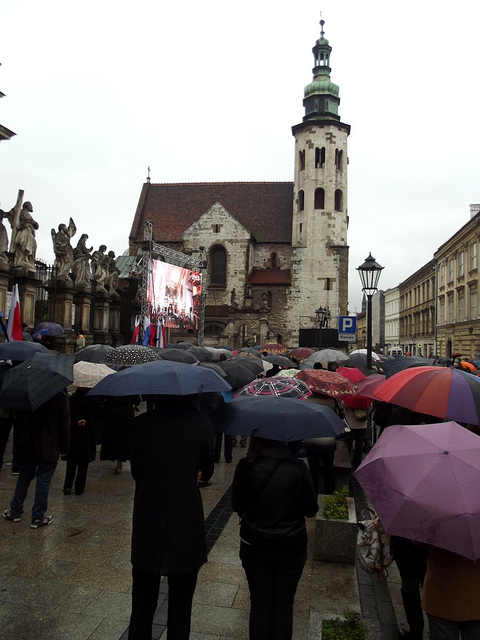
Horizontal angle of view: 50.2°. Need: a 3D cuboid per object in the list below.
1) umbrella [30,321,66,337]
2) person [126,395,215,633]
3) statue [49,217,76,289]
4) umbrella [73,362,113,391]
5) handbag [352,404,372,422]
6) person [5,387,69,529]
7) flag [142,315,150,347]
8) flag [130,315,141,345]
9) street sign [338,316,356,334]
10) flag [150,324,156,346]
[{"bbox_3d":[-4.405,0.205,11.781,0.842,0.322,0.870,-2,-4,-4],"label":"umbrella"},{"bbox_3d":[-0.465,1.201,3.228,0.528,1.438,0.400,2,-3,-5],"label":"person"},{"bbox_3d":[-5.624,-2.243,16.374,0.697,2.182,0.651,0,-7,-20],"label":"statue"},{"bbox_3d":[-1.968,0.720,6.894,0.542,0.240,0.564,7,13,9],"label":"umbrella"},{"bbox_3d":[1.941,1.514,8.187,0.249,0.238,0.161,3,-4,-18],"label":"handbag"},{"bbox_3d":[-2.249,1.535,5.686,0.606,1.493,0.446,3,-3,-9],"label":"person"},{"bbox_3d":[-3.225,0.323,17.637,0.229,1.003,1.490,3,-3,-10],"label":"flag"},{"bbox_3d":[-3.939,0.361,19.170,0.228,0.247,1.212,4,-35,-18],"label":"flag"},{"bbox_3d":[4.313,0.176,20.564,0.829,0.751,0.111,3,-5,-42],"label":"street sign"},{"bbox_3d":[-3.072,0.511,18.013,0.160,0.709,0.674,2,-3,-5],"label":"flag"}]
